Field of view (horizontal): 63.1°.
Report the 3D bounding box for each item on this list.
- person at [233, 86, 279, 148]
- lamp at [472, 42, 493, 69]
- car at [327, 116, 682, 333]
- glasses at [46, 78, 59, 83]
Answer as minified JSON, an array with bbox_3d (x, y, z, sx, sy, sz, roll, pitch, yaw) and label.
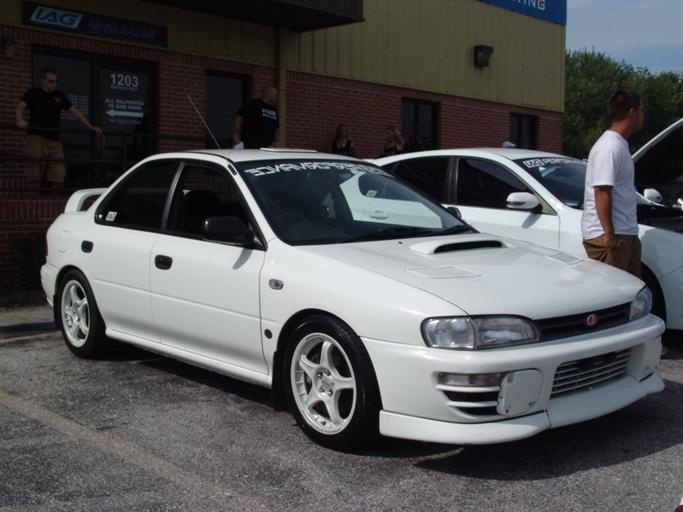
[{"bbox_3d":[-1.592,-2.553,10.319,0.833,1.113,0.480,-2,6,-16],"label":"person"},{"bbox_3d":[4.320,-6.031,16.915,0.574,0.674,0.386,-6,8,-42],"label":"lamp"},{"bbox_3d":[2.028,-0.520,6.519,3.484,1.257,1.647,9,12,41],"label":"car"},{"bbox_3d":[-4.962,-2.969,9.494,0.181,0.071,0.181,5,9,36],"label":"glasses"}]
